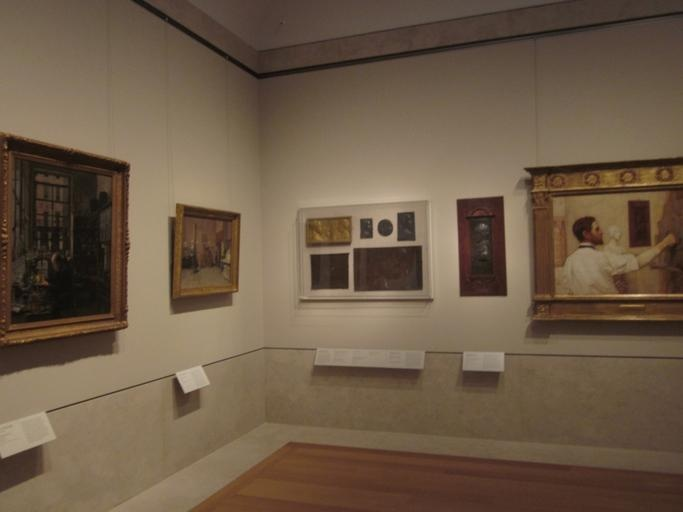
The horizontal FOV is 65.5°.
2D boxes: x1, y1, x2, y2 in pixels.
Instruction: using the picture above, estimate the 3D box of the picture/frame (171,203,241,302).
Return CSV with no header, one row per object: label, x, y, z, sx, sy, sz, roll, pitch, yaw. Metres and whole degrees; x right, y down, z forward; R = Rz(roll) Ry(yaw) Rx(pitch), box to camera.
picture/frame,-1.816,-0.046,7.034,0.123,1.304,1.261,-1,-2,25
